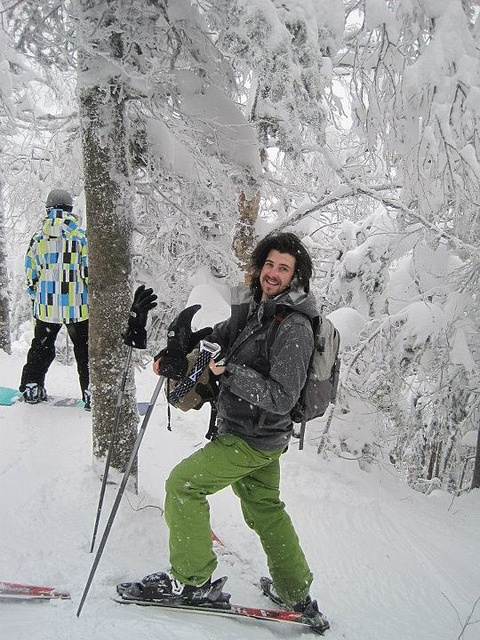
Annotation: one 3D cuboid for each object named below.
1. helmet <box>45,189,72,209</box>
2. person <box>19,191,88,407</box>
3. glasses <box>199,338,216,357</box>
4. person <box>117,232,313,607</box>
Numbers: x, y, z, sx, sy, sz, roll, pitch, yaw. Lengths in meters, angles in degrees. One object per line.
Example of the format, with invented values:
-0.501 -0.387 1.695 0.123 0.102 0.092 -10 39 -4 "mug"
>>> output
-1.595 -1.067 5.266 0.172 0.193 0.197 -2 27 -20 "helmet"
-1.617 -0.198 5.344 0.728 1.934 0.476 6 5 -8 "person"
-0.174 0.171 3.410 0.121 0.092 0.066 7 5 8 "glasses"
-0.001 0.594 3.496 1.002 2.274 0.705 4 6 -31 "person"
